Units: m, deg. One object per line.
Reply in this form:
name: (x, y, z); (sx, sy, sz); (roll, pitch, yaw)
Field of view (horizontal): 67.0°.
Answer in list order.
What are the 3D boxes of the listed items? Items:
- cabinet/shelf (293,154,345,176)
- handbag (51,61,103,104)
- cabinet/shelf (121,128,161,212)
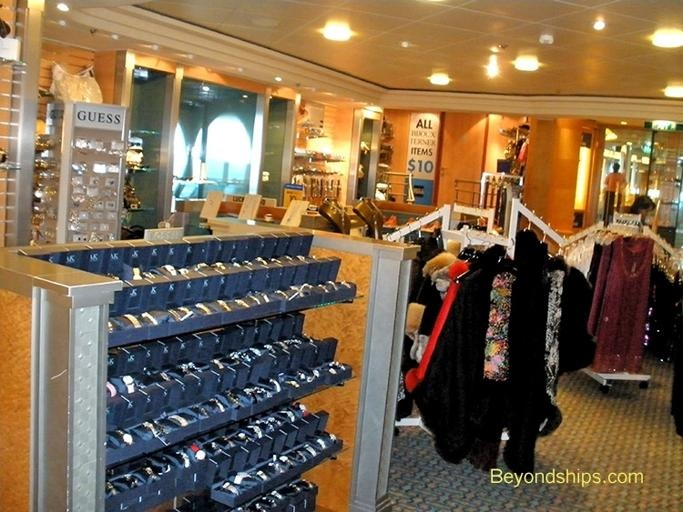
cabinet/shelf: (-0.424, -1.729, 9.840); (0.650, 0.434, 1.093); (9, 10, 24)
handbag: (-2.787, -1.800, 5.460); (0.351, 0.373, 0.457); (9, 10, 19)
cabinet/shelf: (-2.762, -1.144, 7.012); (0.379, 1.158, 0.817); (6, 10, -3)
